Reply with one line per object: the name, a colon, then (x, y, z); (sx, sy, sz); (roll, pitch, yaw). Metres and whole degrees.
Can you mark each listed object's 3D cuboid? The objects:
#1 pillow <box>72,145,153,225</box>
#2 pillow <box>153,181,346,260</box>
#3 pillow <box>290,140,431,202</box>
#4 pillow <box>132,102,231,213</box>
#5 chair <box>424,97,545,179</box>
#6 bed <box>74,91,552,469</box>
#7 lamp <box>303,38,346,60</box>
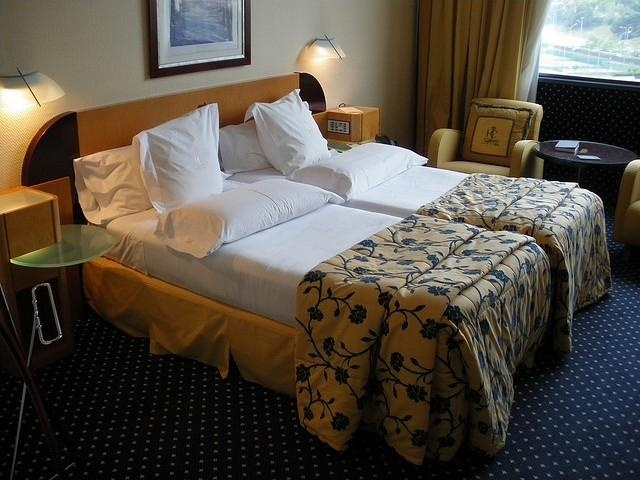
pillow: (-1.386, -0.370, 3.078); (0.498, 0.466, 0.148); (-18, 16, -21)
pillow: (-0.418, -0.190, 2.890); (0.470, 0.146, 0.820); (22, 34, 39)
pillow: (0.376, -0.596, 3.723); (0.490, 0.147, 0.849); (23, 35, 38)
pillow: (-0.935, -0.534, 3.136); (0.193, 0.676, 0.634); (-5, 11, 44)
chair: (1.666, -1.172, 4.929); (1.053, 1.137, 0.948); (13, 18, 29)
bed: (0.045, 0.215, 2.402); (1.690, 0.633, 1.709); (12, 32, 21)
lamp: (0.039, -1.835, 4.475); (0.283, 0.163, 0.297); (23, 37, 34)
